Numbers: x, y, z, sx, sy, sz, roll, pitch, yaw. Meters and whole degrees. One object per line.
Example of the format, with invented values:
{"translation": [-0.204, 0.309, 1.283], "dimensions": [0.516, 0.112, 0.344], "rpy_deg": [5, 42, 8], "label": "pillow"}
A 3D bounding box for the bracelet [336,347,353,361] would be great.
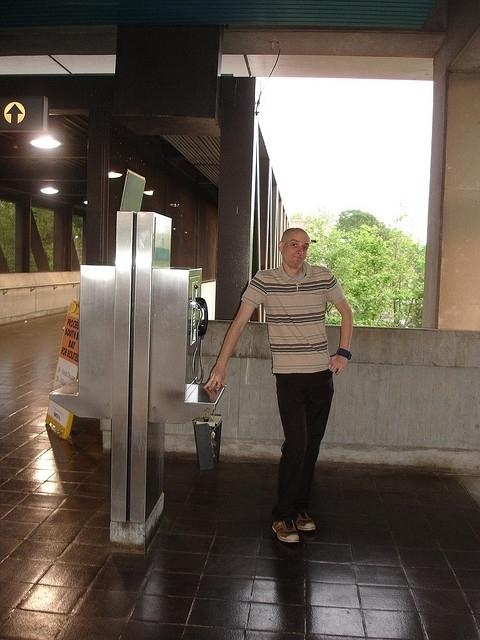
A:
{"translation": [0.588, 0.186, 3.020], "dimensions": [0.090, 0.061, 0.093], "rpy_deg": [20, -4, 6], "label": "bracelet"}

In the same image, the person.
{"translation": [0.244, 0.344, 2.953], "dimensions": [0.791, 1.125, 0.279], "rpy_deg": [1, 1, -6], "label": "person"}

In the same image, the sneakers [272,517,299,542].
{"translation": [0.254, 1.136, 2.877], "dimensions": [0.064, 0.079, 0.193], "rpy_deg": [2, -14, -8], "label": "sneakers"}

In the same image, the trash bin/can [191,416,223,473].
{"translation": [-0.239, 0.953, 4.255], "dimensions": [0.246, 0.355, 0.232], "rpy_deg": [-5, -2, -40], "label": "trash bin/can"}
